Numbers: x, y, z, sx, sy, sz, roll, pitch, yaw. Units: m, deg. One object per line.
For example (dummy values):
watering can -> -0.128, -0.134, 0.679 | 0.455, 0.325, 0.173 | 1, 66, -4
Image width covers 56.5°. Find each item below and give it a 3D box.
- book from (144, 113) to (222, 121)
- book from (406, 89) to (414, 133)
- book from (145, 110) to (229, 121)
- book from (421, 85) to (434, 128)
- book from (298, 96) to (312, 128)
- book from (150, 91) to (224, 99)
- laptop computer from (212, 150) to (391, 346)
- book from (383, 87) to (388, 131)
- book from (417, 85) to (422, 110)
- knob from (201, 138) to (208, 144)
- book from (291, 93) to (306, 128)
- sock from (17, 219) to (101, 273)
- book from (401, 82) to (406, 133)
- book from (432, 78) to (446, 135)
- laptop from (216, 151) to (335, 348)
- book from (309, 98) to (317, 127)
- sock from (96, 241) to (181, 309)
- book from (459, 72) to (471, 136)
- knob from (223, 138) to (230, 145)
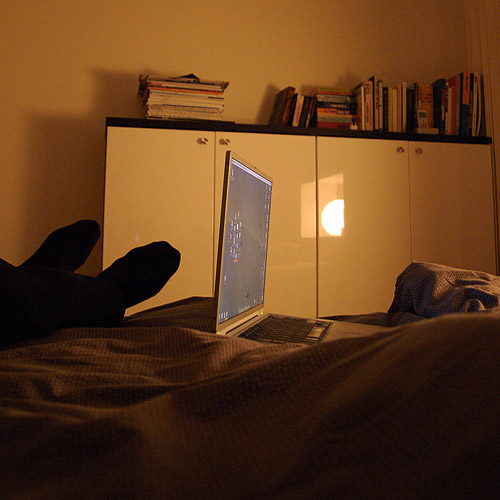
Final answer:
book -> -0.279, -0.562, 1.971 | 0.315, 0.041, 0.017 | -5, -1, -11
book -> 0.783, -0.680, 2.275 | 0.043, 0.186, 0.028 | -2, -2, -21
book -> -0.278, -0.568, 1.970 | 0.311, 0.053, 0.013 | -5, -1, -11
book -> 0.876, -0.704, 2.283 | 0.065, 0.193, 0.015 | -3, -2, -21
book -> 0.257, -0.642, 2.172 | 0.026, 0.140, 0.126 | 6, 10, -4
book -> -0.266, -0.657, 1.974 | 0.304, 0.040, 0.014 | -5, -1, -12
laptop computer -> 0.107, 0.013, 0.839 | 0.253, 0.302, 0.399 | 4, 1, 15
book -> 0.647, -0.670, 2.215 | 0.033, 0.177, 0.013 | -4, -2, 33
book -> 0.831, -0.742, 2.274 | 0.040, 0.110, 0.010 | -2, -2, -39
knob -> -0.190, -0.463, 1.966 | 0.027, 0.019, 0.004 | -4, -1, -36
book -> 0.208, -0.630, 2.116 | 0.064, 0.126, 0.156 | -4, -1, 24
sock -> -0.581, -0.016, 1.456 | 0.175, 0.168, 0.254 | -4, -1, -4
book -> 0.744, -0.680, 2.235 | 0.021, 0.213, 0.059 | -4, -2, 26
book -> 0.924, -0.694, 2.266 | 0.070, 0.257, 0.049 | -4, -2, 28
laptop -> 0.076, 0.006, 0.837 | 0.191, 0.304, 0.394 | 3, 1, 11
book -> 0.295, -0.643, 2.179 | 0.019, 0.098, 0.089 | 6, 5, 2
sock -> -0.201, 0.040, 0.934 | 0.071, 0.092, 0.224 | 31, 28, 9
book -> 1.057, -0.716, 2.283 | 0.081, 0.305, 0.027 | -2, -2, -22
knob -> -0.098, -0.465, 1.992 | 0.028, 0.027, 0.008 | -4, -2, -19
